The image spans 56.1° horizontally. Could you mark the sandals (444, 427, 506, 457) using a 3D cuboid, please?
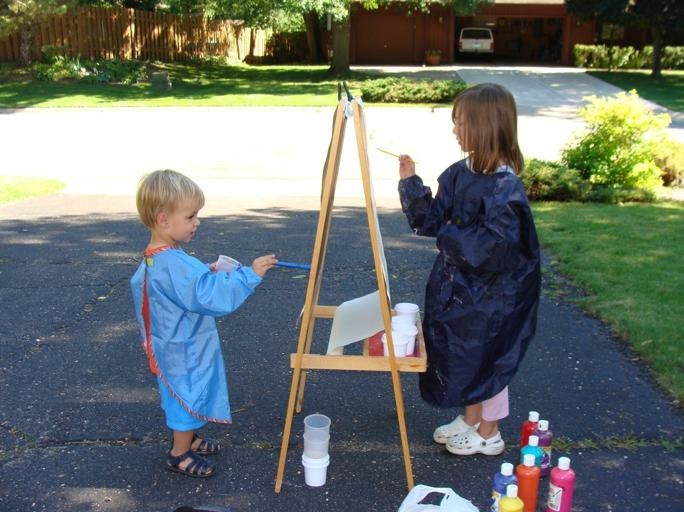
[{"bbox_3d":[0.890,1.247,4.307,0.320,0.134,0.169,2,-2,-2],"label":"sandals"}]

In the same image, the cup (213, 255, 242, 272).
[{"bbox_3d":[-0.677,0.036,3.840,0.139,0.098,0.248,-4,15,-16],"label":"cup"}]

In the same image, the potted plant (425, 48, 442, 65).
[{"bbox_3d":[4.875,-10.566,33.992,0.839,0.617,0.795,3,13,18],"label":"potted plant"}]

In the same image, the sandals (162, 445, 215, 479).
[{"bbox_3d":[-0.960,1.316,4.083,0.277,0.118,0.154,7,9,5],"label":"sandals"}]

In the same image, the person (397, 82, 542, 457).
[{"bbox_3d":[0.865,0.144,4.064,0.738,2.394,0.509,4,16,17],"label":"person"}]

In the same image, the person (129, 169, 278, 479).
[{"bbox_3d":[-0.898,0.441,3.975,0.535,1.910,0.776,-11,18,-35],"label":"person"}]

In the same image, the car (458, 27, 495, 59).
[{"bbox_3d":[7.348,-11.826,35.242,1.767,1.451,1.335,1,15,6],"label":"car"}]

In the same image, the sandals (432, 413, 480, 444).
[{"bbox_3d":[0.737,1.183,4.344,0.344,0.146,0.138,-25,25,14],"label":"sandals"}]

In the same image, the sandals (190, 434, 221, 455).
[{"bbox_3d":[-0.904,1.261,4.280,0.166,0.054,0.114,2,6,-7],"label":"sandals"}]
